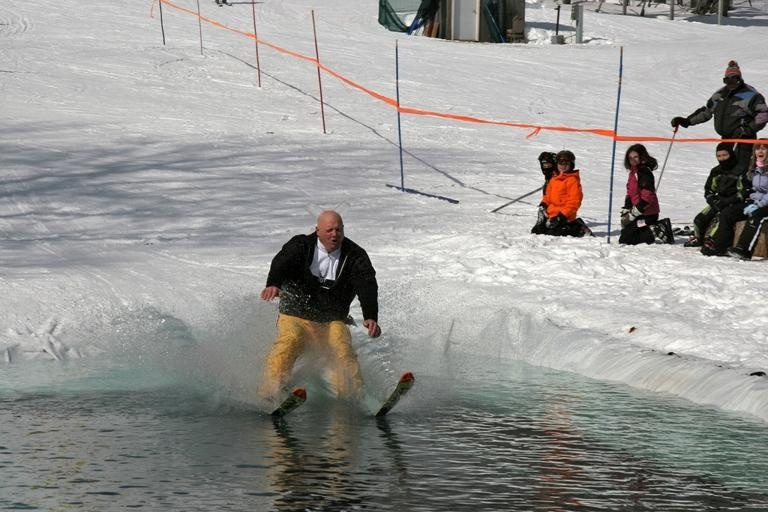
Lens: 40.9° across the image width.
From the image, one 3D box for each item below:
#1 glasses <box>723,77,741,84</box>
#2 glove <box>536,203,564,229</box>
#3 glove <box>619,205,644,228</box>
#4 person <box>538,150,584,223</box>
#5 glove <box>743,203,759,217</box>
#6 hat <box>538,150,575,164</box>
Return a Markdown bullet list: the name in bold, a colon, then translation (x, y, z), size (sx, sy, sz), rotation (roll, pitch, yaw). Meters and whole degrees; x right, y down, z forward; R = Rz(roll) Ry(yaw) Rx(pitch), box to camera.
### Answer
- **glasses**: translation (5.467, -2.757, 16.253), size (0.144, 0.124, 0.269), rotation (-9, 17, -40)
- **glove**: translation (2.601, -0.594, 16.023), size (0.378, 0.450, 0.165), rotation (31, -22, 31)
- **glove**: translation (3.776, -0.604, 15.770), size (0.368, 0.338, 0.196), rotation (14, 19, 38)
- **person**: translation (2.790, -1.083, 16.066), size (0.572, 1.087, 0.588), rotation (2, 17, -5)
- **glove**: translation (5.263, -0.658, 14.808), size (0.132, 0.208, 0.078), rotation (60, 13, 23)
- **hat**: translation (2.764, -1.571, 16.293), size (0.384, 0.151, 0.490), rotation (4, 3, 38)
